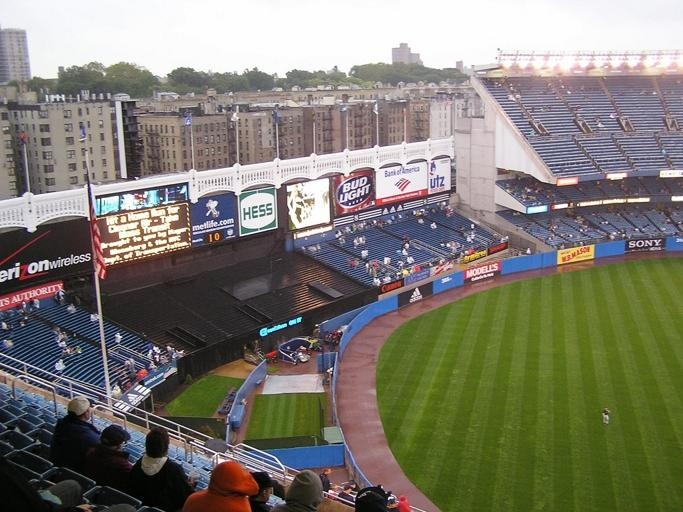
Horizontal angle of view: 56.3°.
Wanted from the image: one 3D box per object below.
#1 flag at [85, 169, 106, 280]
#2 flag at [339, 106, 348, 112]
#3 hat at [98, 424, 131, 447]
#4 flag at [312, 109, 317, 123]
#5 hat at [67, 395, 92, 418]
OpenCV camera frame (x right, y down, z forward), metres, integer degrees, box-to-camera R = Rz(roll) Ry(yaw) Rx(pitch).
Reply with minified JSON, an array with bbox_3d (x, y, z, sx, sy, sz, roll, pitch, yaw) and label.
[{"bbox_3d":[-10.158,-1.263,25.988,0.519,4.354,0.814,-3,0,3],"label":"flag"},{"bbox_3d":[0.275,-21.436,93.340,0.996,0.810,0.805,0,11,6],"label":"flag"},{"bbox_3d":[-4.366,3.407,12.459,0.513,0.311,0.593,11,20,14],"label":"hat"},{"bbox_3d":[-3.866,-19.945,90.528,0.189,1.828,1.091,6,14,30],"label":"flag"},{"bbox_3d":[-5.262,2.926,12.746,0.417,0.261,0.471,11,38,-1],"label":"hat"}]
